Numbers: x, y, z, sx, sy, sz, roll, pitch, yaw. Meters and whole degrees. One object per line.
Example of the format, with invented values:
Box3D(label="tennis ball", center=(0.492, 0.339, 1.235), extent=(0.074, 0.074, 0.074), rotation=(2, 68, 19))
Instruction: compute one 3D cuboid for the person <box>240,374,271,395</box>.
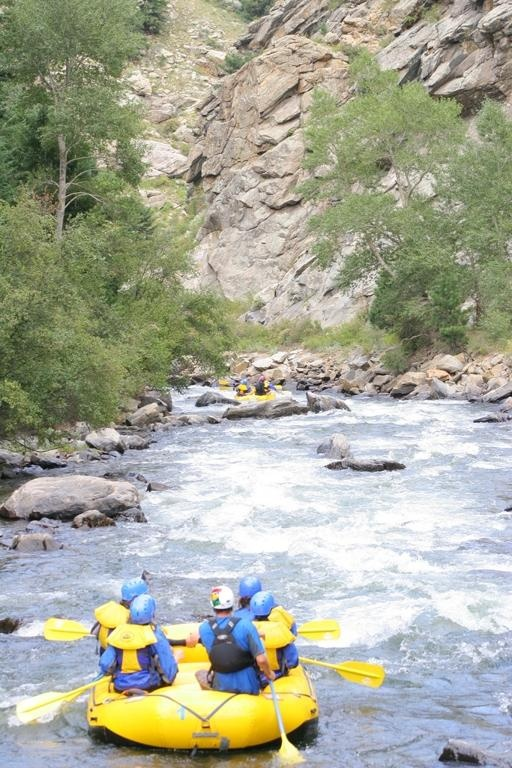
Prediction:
Box3D(label="person", center=(0.038, 0.046, 35.976), extent=(0.772, 0.386, 1.071), rotation=(-1, 4, 6))

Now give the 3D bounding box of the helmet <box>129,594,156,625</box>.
Box3D(label="helmet", center=(-1.106, 2.225, 11.110), extent=(0.205, 0.291, 0.240), rotation=(7, -31, 1))

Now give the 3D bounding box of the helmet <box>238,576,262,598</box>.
Box3D(label="helmet", center=(-0.055, 2.062, 11.425), extent=(0.169, 0.194, 0.233), rotation=(0, 26, 8))

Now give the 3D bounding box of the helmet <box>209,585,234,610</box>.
Box3D(label="helmet", center=(-0.330, 2.106, 11.074), extent=(0.177, 0.205, 0.246), rotation=(2, 10, -2))

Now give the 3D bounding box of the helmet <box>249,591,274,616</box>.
Box3D(label="helmet", center=(0.086, 2.206, 11.226), extent=(0.184, 0.210, 0.252), rotation=(-8, 34, 19))

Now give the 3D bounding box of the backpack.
Box3D(label="backpack", center=(-0.201, 2.635, 10.926), extent=(0.571, 0.652, 0.379), rotation=(-3, -16, 3))

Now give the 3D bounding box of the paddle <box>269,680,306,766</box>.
Box3D(label="paddle", center=(0.305, 3.236, 10.734), extent=(0.235, 0.617, 0.547), rotation=(-3, 11, -9))

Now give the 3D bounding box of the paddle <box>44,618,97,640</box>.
Box3D(label="paddle", center=(-1.962, 2.622, 11.870), extent=(0.515, 0.260, 0.112), rotation=(6, -23, 3))
